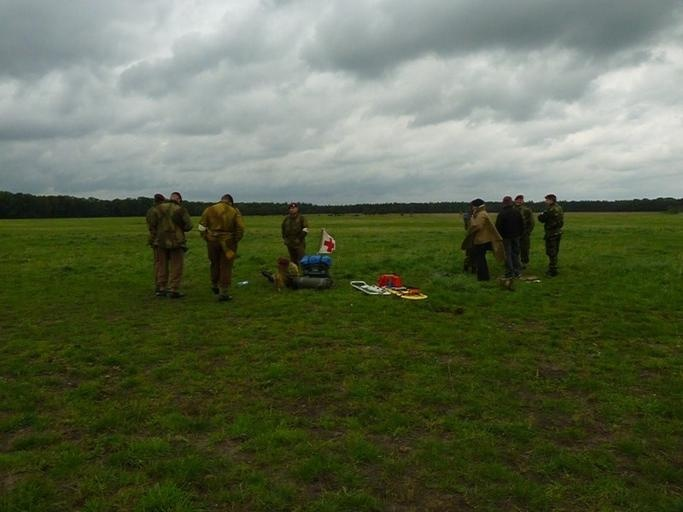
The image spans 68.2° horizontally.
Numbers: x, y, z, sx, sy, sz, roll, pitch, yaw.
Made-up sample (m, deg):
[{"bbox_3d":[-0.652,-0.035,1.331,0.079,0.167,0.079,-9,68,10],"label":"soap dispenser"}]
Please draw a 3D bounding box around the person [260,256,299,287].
[{"bbox_3d":[-2.183,0.547,18.564,1.055,1.072,1.920,-4,8,-20],"label":"person"}]

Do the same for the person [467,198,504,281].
[{"bbox_3d":[5.161,-0.552,18.412,0.874,2.975,1.532,-5,7,-25],"label":"person"}]

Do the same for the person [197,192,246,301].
[{"bbox_3d":[-3.764,-0.251,16.162,1.310,3.264,0.925,0,7,13],"label":"person"}]
